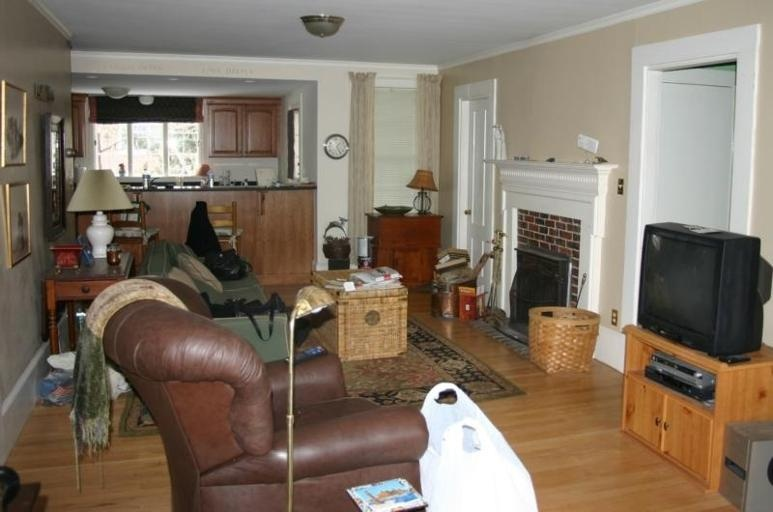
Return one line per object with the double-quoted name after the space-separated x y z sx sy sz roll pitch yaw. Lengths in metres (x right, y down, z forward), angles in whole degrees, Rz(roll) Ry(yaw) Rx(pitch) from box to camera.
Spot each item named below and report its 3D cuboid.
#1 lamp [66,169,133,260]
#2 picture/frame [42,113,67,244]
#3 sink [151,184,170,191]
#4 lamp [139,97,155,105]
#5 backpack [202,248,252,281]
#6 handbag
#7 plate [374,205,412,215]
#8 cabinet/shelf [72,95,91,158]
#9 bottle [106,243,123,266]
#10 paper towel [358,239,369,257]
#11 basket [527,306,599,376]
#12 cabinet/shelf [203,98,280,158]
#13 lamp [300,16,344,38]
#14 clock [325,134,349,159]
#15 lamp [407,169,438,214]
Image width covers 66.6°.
-2.473 -0.366 5.144 0.451 0.770 0.402 1 12 5 "lamp"
-3.055 -0.727 5.417 0.144 1.122 0.899 -4 13 -22 "picture/frame"
-3.303 -1.006 8.590 0.340 0.085 0.353 0 7 -4 "sink"
-4.560 -2.953 11.177 0.277 0.166 0.246 -2 12 -12 "lamp"
-1.712 0.102 6.369 0.386 0.153 0.374 5 14 -11 "backpack"
-1.044 0.429 4.383 0.528 0.213 0.377 2 7 -8 "handbag"
0.085 -0.622 7.944 0.480 0.115 0.432 -1 11 -9 "plate"
-5.760 -2.442 11.024 0.243 1.182 0.495 1 12 0 "cabinet/shelf"
-2.320 -0.002 5.037 0.157 0.210 0.161 1 1 0 "bottle"
-0.297 -0.121 7.768 0.126 0.254 0.074 -1 12 -9 "paper towel"
1.558 0.763 5.368 0.548 0.460 0.616 0 0 -8 "basket"
-2.866 -2.550 11.476 1.125 0.889 0.449 0 10 -7 "cabinet/shelf"
-0.551 -2.044 5.172 0.378 0.173 0.213 3 12 11 "lamp"
-0.697 -1.489 8.001 0.329 0.334 0.052 -3 12 -15 "clock"
0.481 -0.871 7.840 0.612 0.661 0.571 0 0 0 "lamp"
